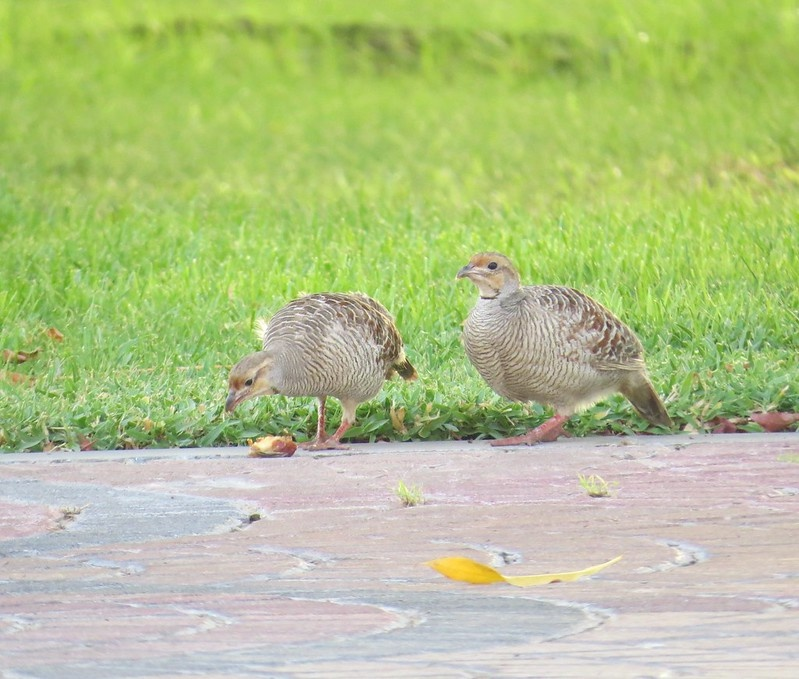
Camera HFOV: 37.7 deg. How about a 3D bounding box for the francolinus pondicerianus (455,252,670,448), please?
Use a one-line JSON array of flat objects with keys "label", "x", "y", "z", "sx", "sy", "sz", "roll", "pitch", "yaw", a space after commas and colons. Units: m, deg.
[{"label": "francolinus pondicerianus", "x": 0.649, "y": 0.035, "z": 4.780, "sx": 0.788, "sy": 0.705, "sz": 0.655, "roll": -8, "pitch": 38, "yaw": -14}]
